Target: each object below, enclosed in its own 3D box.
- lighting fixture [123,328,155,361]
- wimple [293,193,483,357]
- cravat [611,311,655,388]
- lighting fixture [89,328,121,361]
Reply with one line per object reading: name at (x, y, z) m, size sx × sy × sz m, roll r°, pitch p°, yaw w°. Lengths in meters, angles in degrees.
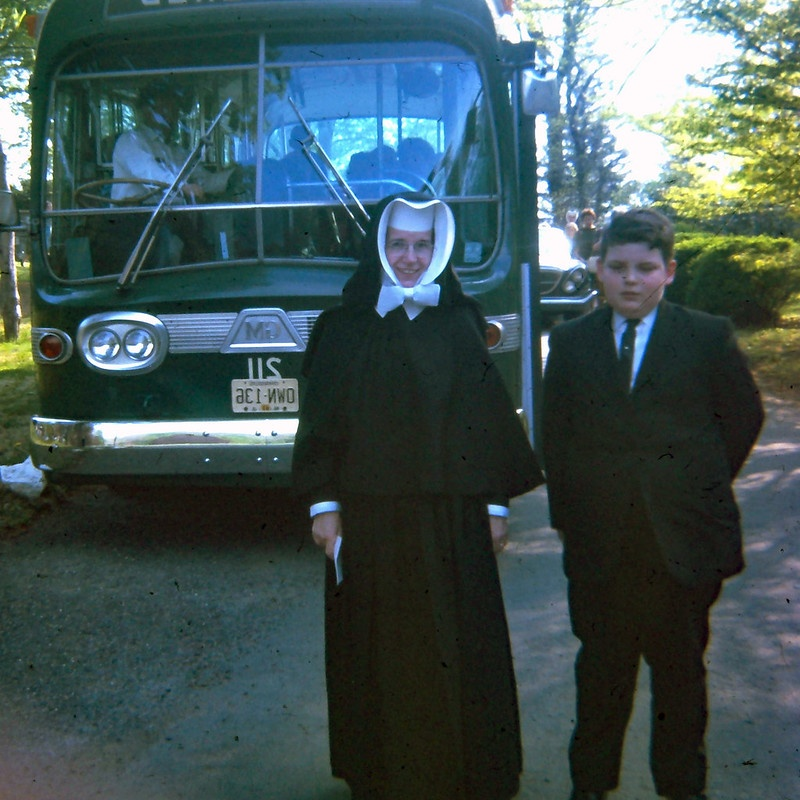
lighting fixture at (-1.321, -0.282, 4.379) m, size 0.171 × 0.159 × 0.047 m, roll 3°, pitch 10°, yaw 28°
wimple at (-0.017, -0.388, 2.568) m, size 0.570 × 0.517 × 0.399 m, roll 1°, pitch -6°, yaw -3°
cravat at (0.639, -0.170, 2.361) m, size 0.066 × 0.269 × 0.006 m, roll 2°, pitch -25°, yaw 30°
lighting fixture at (-1.515, -0.282, 4.423) m, size 0.177 × 0.164 × 0.049 m, roll 1°, pitch 10°, yaw 21°
